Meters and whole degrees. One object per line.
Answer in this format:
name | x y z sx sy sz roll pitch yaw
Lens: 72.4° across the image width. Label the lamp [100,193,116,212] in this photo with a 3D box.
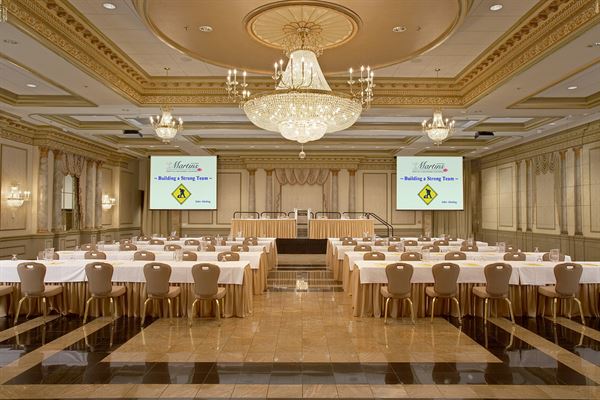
lamp | -8.991 0.072 19.234 0.704 0.606 0.661 1 -3 -6
